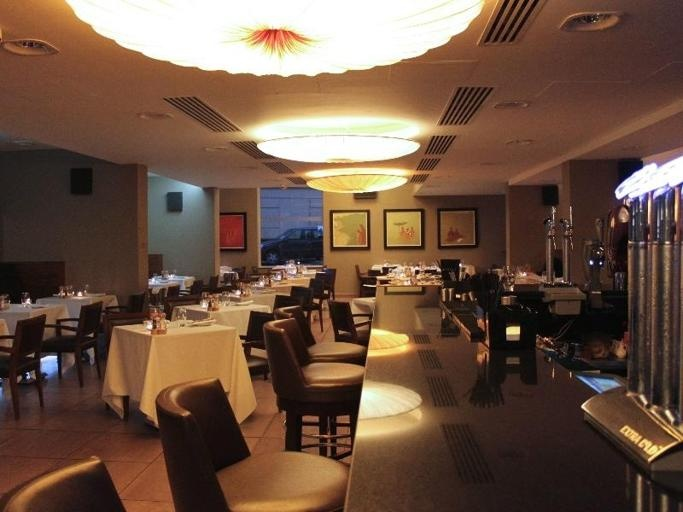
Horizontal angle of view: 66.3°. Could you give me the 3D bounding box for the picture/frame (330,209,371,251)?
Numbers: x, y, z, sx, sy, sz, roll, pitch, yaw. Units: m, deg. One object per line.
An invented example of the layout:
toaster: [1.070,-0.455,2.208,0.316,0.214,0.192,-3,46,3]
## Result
picture/frame: [0.278,-0.741,14.657,1.173,1.104,0.111,0,-2,-2]

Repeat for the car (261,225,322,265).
car: [-2.219,-0.645,22.466,3.271,1.412,1.512,-1,19,-28]

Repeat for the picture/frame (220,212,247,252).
picture/frame: [-3.165,-0.753,15.326,1.174,1.230,0.089,0,3,0]

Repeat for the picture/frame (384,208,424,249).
picture/frame: [1.708,-0.733,14.625,1.162,1.112,0.082,0,0,2]

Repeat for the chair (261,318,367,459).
chair: [-0.140,0.861,3.122,0.597,0.906,0.642,1,3,11]

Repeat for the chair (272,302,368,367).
chair: [-0.137,0.496,3.517,0.498,0.551,0.408,-1,5,5]

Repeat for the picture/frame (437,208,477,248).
picture/frame: [3.224,-0.749,14.645,1.096,1.085,0.080,1,-5,-3]

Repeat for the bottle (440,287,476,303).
bottle: [0.904,0.304,4.083,0.193,0.070,0.106,1,0,5]

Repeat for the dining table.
dining table: [-1.531,0.808,4.772,1.143,0.844,1.118,-2,2,-44]
